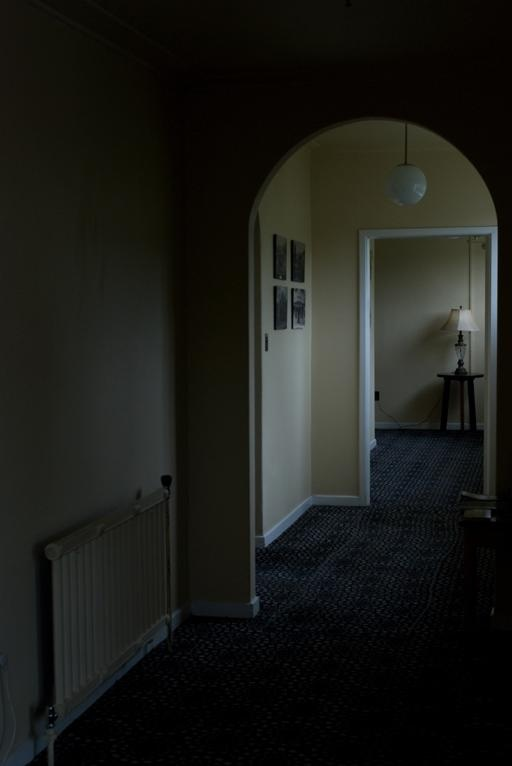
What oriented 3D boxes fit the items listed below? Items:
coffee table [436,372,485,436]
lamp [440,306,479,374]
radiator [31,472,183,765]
[{"bbox_3d":[2.993,0.240,9.059,0.417,0.811,0.464,3,11,39],"label":"coffee table"},{"bbox_3d":[2.962,-0.626,8.939,0.466,1.037,0.623,-2,-3,22],"label":"lamp"},{"bbox_3d":[-0.472,0.747,2.091,0.182,0.747,0.977,-1,-3,8],"label":"radiator"}]
